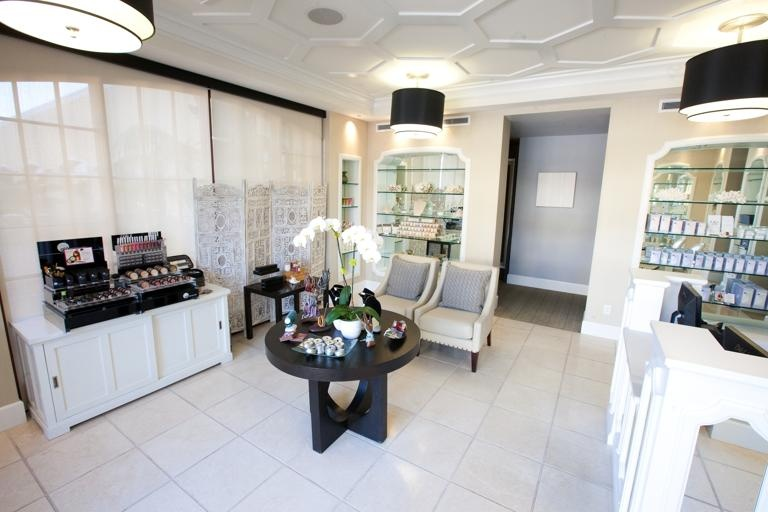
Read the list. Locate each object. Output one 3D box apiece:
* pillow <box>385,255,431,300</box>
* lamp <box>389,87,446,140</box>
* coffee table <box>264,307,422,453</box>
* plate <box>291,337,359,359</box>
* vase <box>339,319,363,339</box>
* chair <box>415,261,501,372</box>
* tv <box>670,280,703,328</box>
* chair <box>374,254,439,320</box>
[{"bbox_3d":[0.299,0.303,6.545,0.572,0.529,0.166,12,-11,33],"label":"pillow"},{"bbox_3d":[0.426,-1.767,6.090,0.626,0.450,0.618,-4,11,-29],"label":"lamp"},{"bbox_3d":[-0.342,1.224,4.615,1.324,0.881,1.321,7,13,34],"label":"coffee table"},{"bbox_3d":[-0.569,0.845,4.599,0.591,0.143,0.327,2,10,9],"label":"plate"},{"bbox_3d":[-0.344,0.707,4.746,0.190,0.147,0.198,-1,3,-15],"label":"vase"},{"bbox_3d":[0.918,0.722,6.197,0.871,1.184,0.837,6,12,26],"label":"chair"},{"bbox_3d":[2.838,0.447,4.516,0.129,0.315,0.362,-1,18,20],"label":"tv"},{"bbox_3d":[0.309,0.368,6.483,0.780,0.793,0.845,11,21,27],"label":"chair"}]
